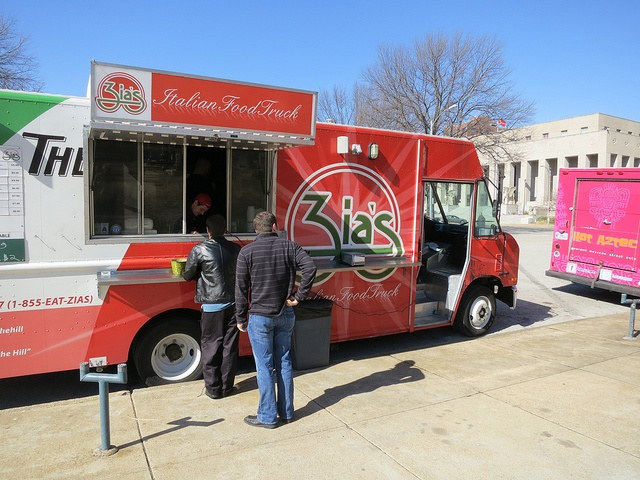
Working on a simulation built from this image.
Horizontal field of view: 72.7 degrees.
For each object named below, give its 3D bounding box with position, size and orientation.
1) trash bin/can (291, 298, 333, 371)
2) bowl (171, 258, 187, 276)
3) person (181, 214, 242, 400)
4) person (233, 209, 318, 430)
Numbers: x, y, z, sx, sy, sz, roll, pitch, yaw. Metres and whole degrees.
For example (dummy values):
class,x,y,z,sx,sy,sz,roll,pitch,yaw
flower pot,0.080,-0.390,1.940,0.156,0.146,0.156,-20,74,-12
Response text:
class,x,y,z,sx,sy,sz,roll,pitch,yaw
trash bin/can,-0.100,1.490,6.468,0.642,0.963,0.694,-3,-12,24
bowl,-1.743,0.330,5.351,0.164,0.163,0.197,2,1,0
person,-1.302,0.834,5.293,0.601,2.241,0.387,1,5,-3
person,-0.527,0.885,4.867,0.839,2.343,0.441,0,5,-13
